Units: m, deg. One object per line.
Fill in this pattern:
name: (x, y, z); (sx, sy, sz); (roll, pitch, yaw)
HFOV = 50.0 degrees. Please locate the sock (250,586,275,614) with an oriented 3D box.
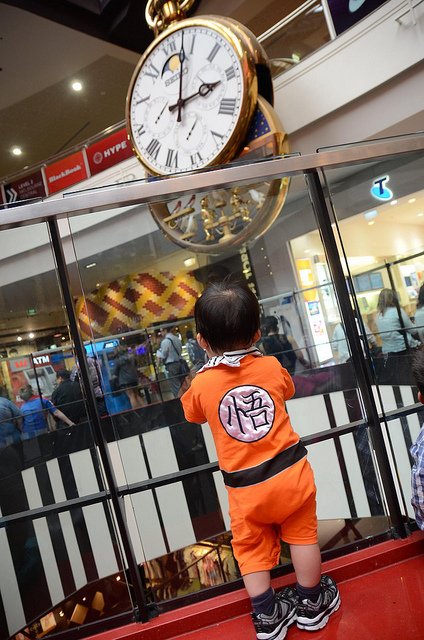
sock: (0.127, 0.683, 1.112); (0.057, 0.066, 0.038); (-16, 0, -6)

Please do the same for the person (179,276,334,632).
person: (0.112, 0.336, 1.246); (0.313, 0.930, 0.320); (-16, 0, -6)
